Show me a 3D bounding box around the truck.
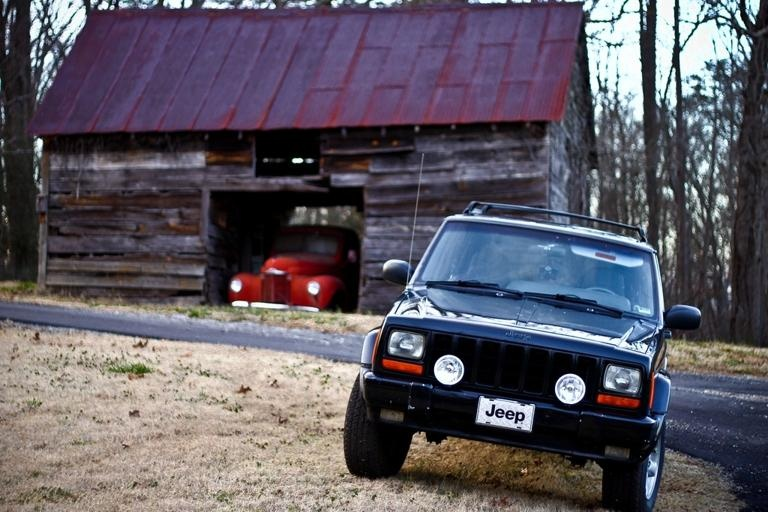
[{"bbox_3d":[-2.374,0.398,34.029,2.193,2.215,4.105,-1,-7,17],"label":"truck"}]
